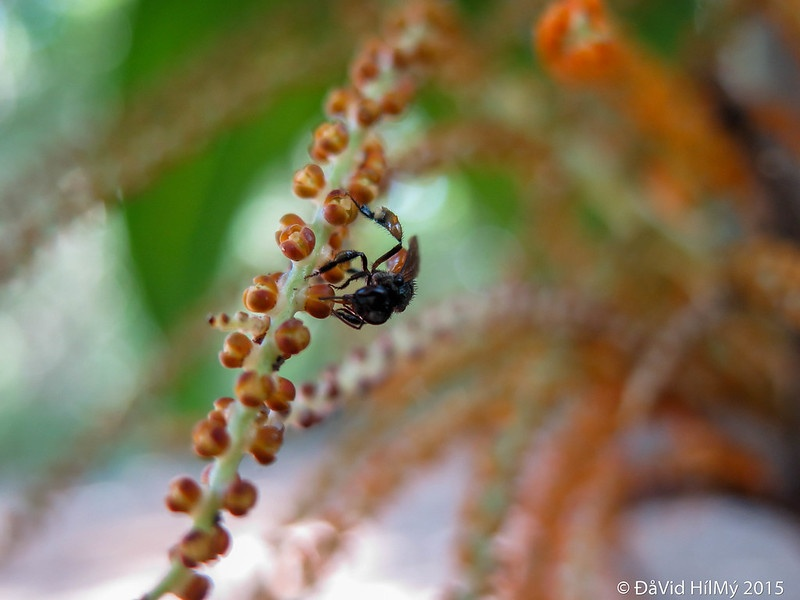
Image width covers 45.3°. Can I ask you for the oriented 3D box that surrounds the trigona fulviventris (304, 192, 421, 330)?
[{"bbox_3d":[-0.014,-0.019,0.656,0.087,0.059,0.025,-20,51,-40],"label":"trigona fulviventris"}]
